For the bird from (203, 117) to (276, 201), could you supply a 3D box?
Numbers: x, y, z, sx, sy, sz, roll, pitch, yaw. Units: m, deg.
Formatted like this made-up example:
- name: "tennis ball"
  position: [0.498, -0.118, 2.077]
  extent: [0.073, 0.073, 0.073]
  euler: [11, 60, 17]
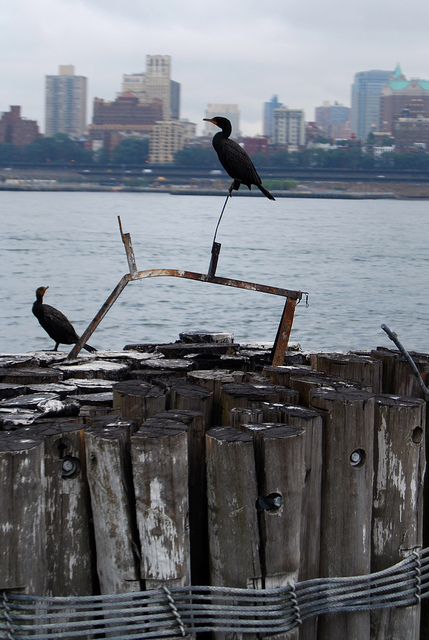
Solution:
- name: "bird"
  position: [0.132, -0.947, 9.145]
  extent: [0.485, 0.423, 0.164]
  euler: [10, 3, -8]

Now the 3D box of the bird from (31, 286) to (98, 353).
- name: "bird"
  position: [-0.949, -0.002, 9.624]
  extent: [0.544, 0.395, 0.161]
  euler: [7, 0, -33]

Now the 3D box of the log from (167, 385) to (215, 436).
- name: "log"
  position: [-0.096, 0.343, 6.272]
  extent: [0.161, 0.167, 0.167]
  euler: [4, 27, 2]

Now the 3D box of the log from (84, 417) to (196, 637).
- name: "log"
  position: [-0.272, 0.749, 5.536]
  extent: [0.385, 0.758, 0.343]
  euler: [0, 3, 0]

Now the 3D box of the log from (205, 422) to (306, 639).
- name: "log"
  position: [0.142, 0.773, 5.563]
  extent: [0.354, 0.764, 0.308]
  euler: [0, 3, 0]

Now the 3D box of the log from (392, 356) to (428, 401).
- name: "log"
  position: [0.866, 0.249, 6.815]
  extent: [0.157, 0.176, 0.158]
  euler: [-3, -4, 37]

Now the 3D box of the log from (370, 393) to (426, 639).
- name: "log"
  position: [0.690, 0.762, 5.946]
  extent: [0.205, 0.915, 0.410]
  euler: [0, 3, 7]

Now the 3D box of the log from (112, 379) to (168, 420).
- name: "log"
  position: [-0.318, 0.310, 6.221]
  extent: [0.150, 0.102, 0.153]
  euler: [0, 9, -20]

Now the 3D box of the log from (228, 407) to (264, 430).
- name: "log"
  position: [0.118, 0.356, 5.864]
  extent: [0.086, 0.088, 0.085]
  euler: [-8, 15, -42]
